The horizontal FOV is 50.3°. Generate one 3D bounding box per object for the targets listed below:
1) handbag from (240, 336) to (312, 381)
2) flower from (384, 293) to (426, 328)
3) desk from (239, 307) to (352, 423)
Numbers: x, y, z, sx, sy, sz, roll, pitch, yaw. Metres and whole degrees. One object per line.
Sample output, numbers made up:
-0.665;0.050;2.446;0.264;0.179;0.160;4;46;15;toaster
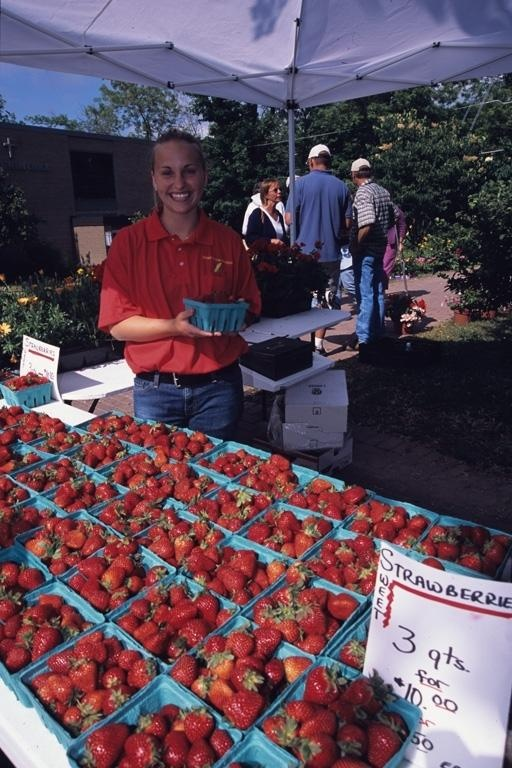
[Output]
0.117;-0.197;3.950;0.313;0.194;0.438;17;23;39;handbag
2.593;-1.268;9.089;0.707;0.453;0.569;-18;17;-21;flower
0.337;-0.246;4.649;0.728;0.267;1.134;19;43;34;desk
